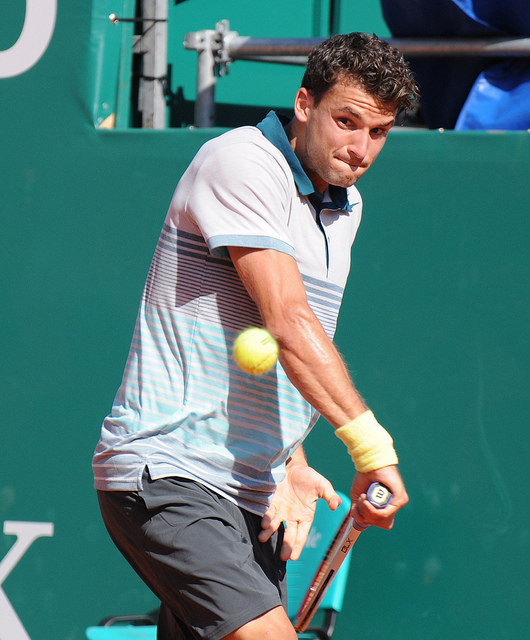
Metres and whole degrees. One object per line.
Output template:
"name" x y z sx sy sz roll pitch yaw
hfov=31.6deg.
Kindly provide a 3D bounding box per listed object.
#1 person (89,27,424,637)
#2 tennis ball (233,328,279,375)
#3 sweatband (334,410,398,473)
"person" 0.017 0.062 2.352 0.873 1.463 0.752 -9 24 -23
"tennis ball" -0.019 0.073 2.271 0.114 0.104 0.104 -2 -21 -1
"sweatband" 0.243 0.287 2.250 0.133 0.155 0.068 -29 12 9
